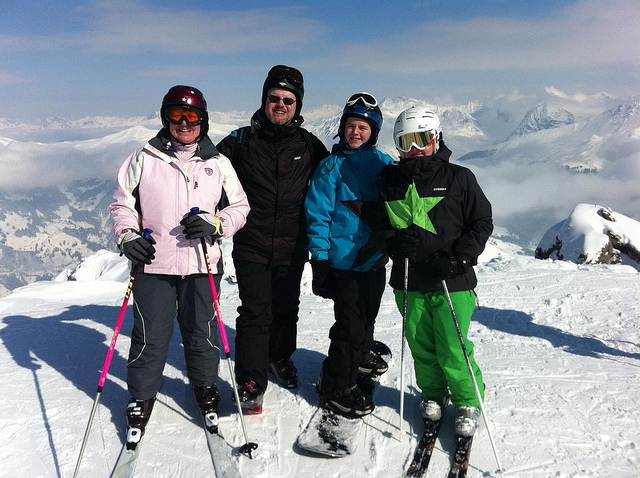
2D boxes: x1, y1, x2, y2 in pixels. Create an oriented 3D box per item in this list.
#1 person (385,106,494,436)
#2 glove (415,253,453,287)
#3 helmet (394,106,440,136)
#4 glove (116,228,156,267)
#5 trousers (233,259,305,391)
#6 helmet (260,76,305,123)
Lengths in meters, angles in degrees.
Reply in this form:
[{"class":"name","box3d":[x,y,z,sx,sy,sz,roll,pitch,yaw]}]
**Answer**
[{"class":"person","box3d":[1.495,0.402,7.288,1.552,3.980,0.989,16,24,43]},{"class":"glove","box3d":[1.445,0.410,7.182,0.304,0.441,0.458,-7,18,-18]},{"class":"helmet","box3d":[1.227,-1.496,7.213,0.363,0.467,0.402,-1,6,15]},{"class":"glove","box3d":[-2.236,0.093,6.962,0.371,0.483,0.166,-38,-3,-29]},{"class":"trousers","box3d":[-0.780,1.213,7.950,0.673,1.854,1.178,6,19,20]},{"class":"helmet","box3d":[-0.394,-1.950,7.835,0.458,0.534,0.595,13,0,10]}]
